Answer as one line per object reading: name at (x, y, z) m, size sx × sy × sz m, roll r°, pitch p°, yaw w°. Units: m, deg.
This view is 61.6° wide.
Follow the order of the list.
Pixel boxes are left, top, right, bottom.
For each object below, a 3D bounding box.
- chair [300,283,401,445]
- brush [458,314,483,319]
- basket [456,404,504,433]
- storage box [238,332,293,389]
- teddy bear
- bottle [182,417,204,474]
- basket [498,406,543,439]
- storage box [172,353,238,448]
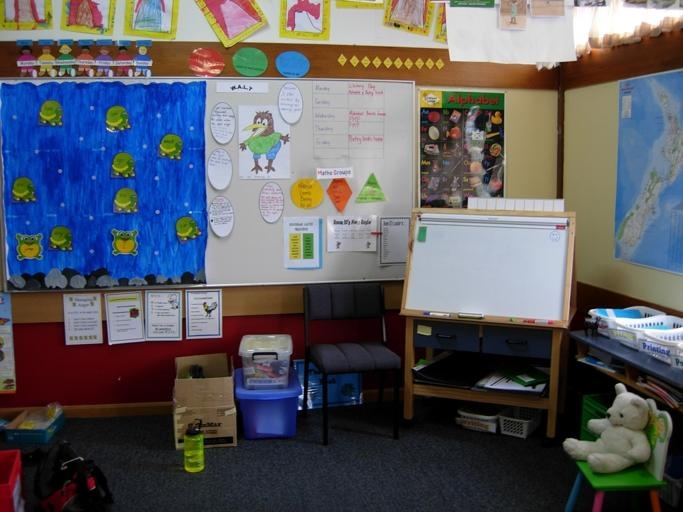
chair at (0.087, 0.713, 4.065) m, size 0.719 × 0.947 × 0.706 m, roll -2°, pitch 14°, yaw -4°
brush at (0.856, 0.399, 3.776) m, size 0.158 × 0.035 × 0.020 m, roll 3°, pitch 14°, yaw 13°
basket at (0.975, 1.131, 4.020) m, size 0.183 × 0.075 × 0.188 m, roll 3°, pitch 11°, yaw 24°
storage box at (-0.514, 0.726, 4.005) m, size 0.341 × 0.271 × 0.319 m, roll -2°, pitch 14°, yaw -5°
teddy bear at (1.403, 0.897, 3.020) m, size 0.372 × 0.461 × 0.466 m, roll 3°, pitch 9°, yaw -7°
bottle at (-0.927, 1.180, 3.616) m, size 0.136 × 0.264 × 0.246 m, roll -4°, pitch 15°, yaw -15°
basket at (1.241, 1.136, 3.959) m, size 0.284 × 0.151 × 0.237 m, roll 4°, pitch 15°, yaw 18°
storage box at (-0.880, 0.936, 4.050) m, size 0.486 × 0.678 × 0.684 m, roll -1°, pitch 4°, yaw -6°
